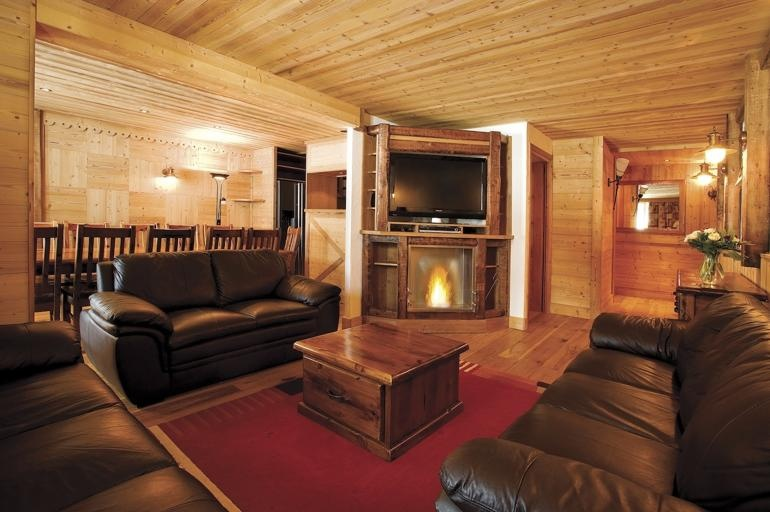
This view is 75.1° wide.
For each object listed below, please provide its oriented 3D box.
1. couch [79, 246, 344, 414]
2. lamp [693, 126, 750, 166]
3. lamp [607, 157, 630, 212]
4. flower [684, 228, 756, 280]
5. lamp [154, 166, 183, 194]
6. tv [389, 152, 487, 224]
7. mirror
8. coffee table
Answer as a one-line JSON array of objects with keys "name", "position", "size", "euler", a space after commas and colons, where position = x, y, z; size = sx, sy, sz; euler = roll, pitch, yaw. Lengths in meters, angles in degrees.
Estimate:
[{"name": "couch", "position": [-1.535, 0.501, 4.740], "size": [1.024, 1.018, 2.225], "euler": [16, 15, 38]}, {"name": "lamp", "position": [3.407, -1.142, 5.086], "size": [0.468, 0.299, 0.323], "euler": [-1, 2, 24]}, {"name": "lamp", "position": [3.663, -1.186, 7.915], "size": [0.282, 0.722, 0.188], "euler": [6, 22, 19]}, {"name": "flower", "position": [3.066, -0.008, 4.658], "size": [0.566, 0.467, 0.499], "euler": [1, 1, 18]}, {"name": "lamp", "position": [-3.481, -1.251, 8.107], "size": [0.148, 0.411, 0.417], "euler": [3, 6, 22]}, {"name": "tv", "position": [0.628, -0.892, 6.163], "size": [1.064, 0.567, 0.126], "euler": [1, 1, -6]}, {"name": "mirror", "position": [5.042, -0.912, 9.382], "size": [0.491, 0.979, 1.305], "euler": [-12, 14, -26]}, {"name": "coffee table", "position": [-0.027, 0.985, 3.991], "size": [1.129, 0.513, 1.075], "euler": [8, 12, 29]}]
